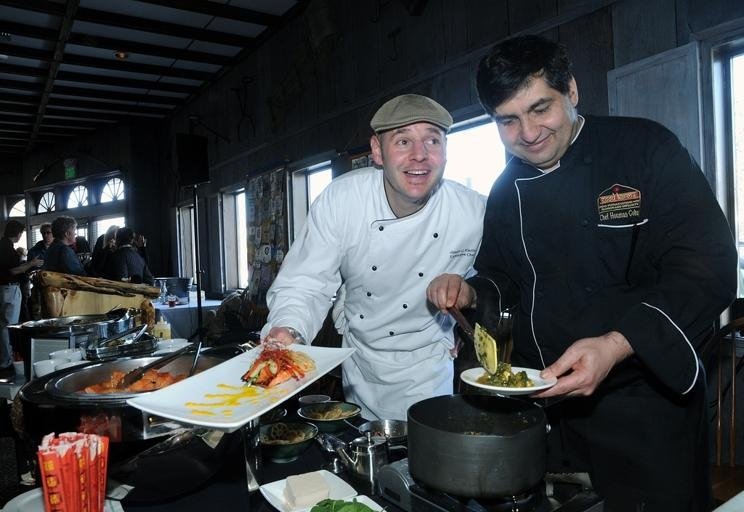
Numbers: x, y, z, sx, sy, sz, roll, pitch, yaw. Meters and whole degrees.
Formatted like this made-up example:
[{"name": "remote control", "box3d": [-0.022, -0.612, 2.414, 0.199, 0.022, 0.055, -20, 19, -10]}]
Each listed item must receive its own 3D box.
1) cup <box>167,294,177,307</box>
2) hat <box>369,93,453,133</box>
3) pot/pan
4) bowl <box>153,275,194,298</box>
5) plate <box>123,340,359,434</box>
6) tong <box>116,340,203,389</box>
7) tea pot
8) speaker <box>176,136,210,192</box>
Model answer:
[{"name": "cup", "box3d": [-2.522, 0.574, 6.895, 0.126, 0.151, 0.123, -9, -1, 0]}, {"name": "hat", "box3d": [0.106, -0.659, 2.551, 0.358, 0.134, 0.384, -9, 15, 12]}, {"name": "pot/pan", "box3d": [0.339, 0.595, 1.741, 0.436, 0.223, 0.448, -2, 2, -16]}, {"name": "bowl", "box3d": [-2.563, 0.411, 7.073, 0.322, 0.174, 0.381, 1, -5, 3]}, {"name": "plate", "box3d": [-0.417, 0.450, 1.870, 0.406, 0.244, 0.693, -5, 3, 35]}, {"name": "tong", "box3d": [-0.906, 0.467, 2.299, 0.317, 0.052, 0.038, -28, -9, 4]}, {"name": "tea pot", "box3d": [0.015, 0.703, 1.938, 0.321, 0.152, 0.170, 1, -1, -27]}, {"name": "speaker", "box3d": [-1.979, -1.072, 6.042, 0.340, 0.568, 0.396, -7, 3, -18]}]
